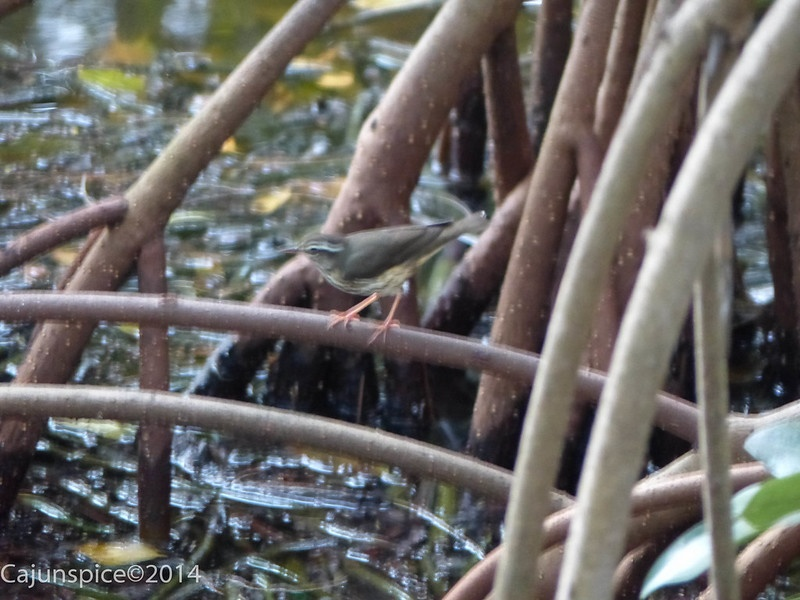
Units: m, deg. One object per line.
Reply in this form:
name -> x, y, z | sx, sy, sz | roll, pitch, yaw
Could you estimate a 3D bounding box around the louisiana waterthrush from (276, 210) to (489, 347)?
louisiana waterthrush -> -0.056, -0.069, 4.356 | 0.755, 0.394, 0.243 | -22, 37, 16
